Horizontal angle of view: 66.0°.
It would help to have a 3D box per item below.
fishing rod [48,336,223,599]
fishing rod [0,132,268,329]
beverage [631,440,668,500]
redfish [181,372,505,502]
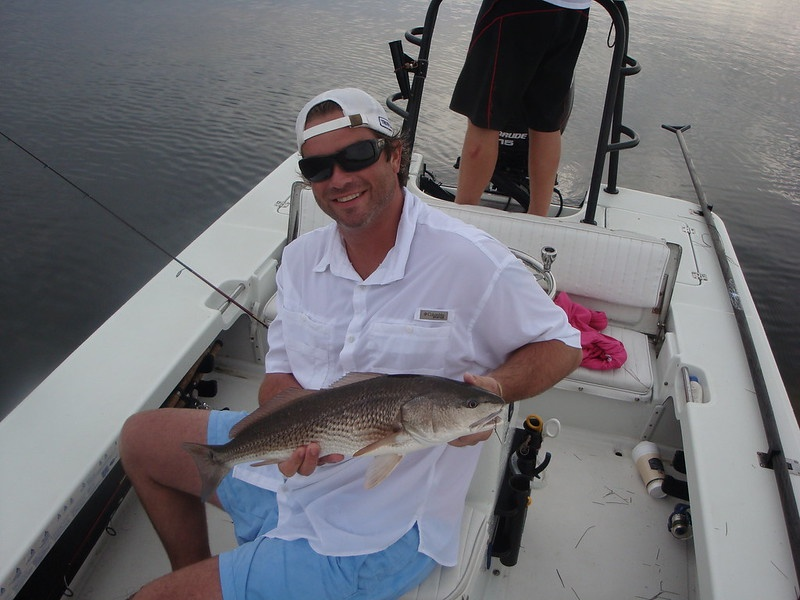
[{"bbox_3d":[-1.484,0.962,3.375,0.217,0.225,1.726,41,74,-3],"label":"fishing rod"},{"bbox_3d":[-2.448,-0.601,5.451,3.251,0.120,0.042,41,35,0],"label":"fishing rod"},{"bbox_3d":[1.655,1.150,4.114,0.164,0.169,0.246,-34,22,24],"label":"beverage"},{"bbox_3d":[-0.207,0.561,2.873,1.530,0.592,0.619,-13,72,6],"label":"redfish"}]
